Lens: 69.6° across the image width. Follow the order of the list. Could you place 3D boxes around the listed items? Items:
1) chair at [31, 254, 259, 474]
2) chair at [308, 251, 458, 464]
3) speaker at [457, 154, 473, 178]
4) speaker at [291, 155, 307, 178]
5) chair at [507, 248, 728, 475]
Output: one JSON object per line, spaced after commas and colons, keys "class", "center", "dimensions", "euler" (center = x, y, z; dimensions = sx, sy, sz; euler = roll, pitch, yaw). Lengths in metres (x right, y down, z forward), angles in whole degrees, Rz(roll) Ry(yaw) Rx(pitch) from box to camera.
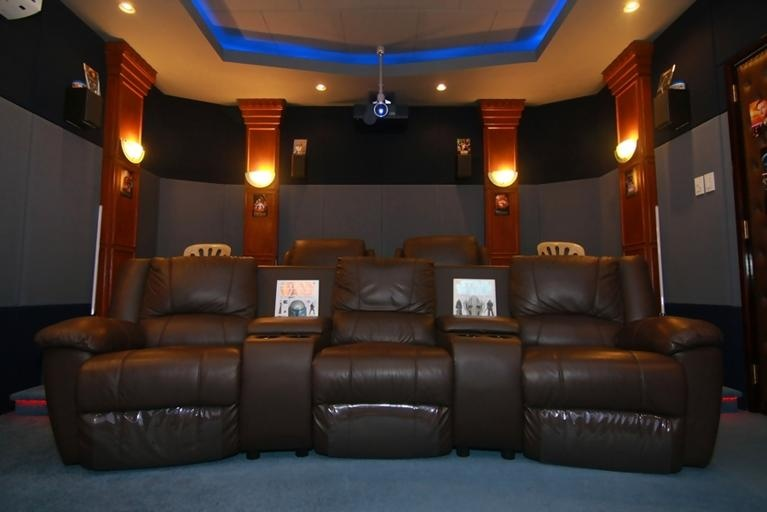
{"class": "chair", "center": [-1.768, 0.792, 4.533], "dimensions": [1.367, 1.352, 1.383], "euler": [-1, -8, -5]}
{"class": "chair", "center": [0.002, 0.764, 4.706], "dimensions": [1.048, 1.505, 1.581], "euler": [1, -1, 5]}
{"class": "speaker", "center": [1.168, -1.309, 8.091], "dimensions": [0.275, 0.405, 0.276], "euler": [0, -6, -1]}
{"class": "speaker", "center": [-1.222, -1.292, 8.180], "dimensions": [0.268, 0.390, 0.271], "euler": [2, -6, -1]}
{"class": "chair", "center": [1.807, 0.814, 4.632], "dimensions": [1.432, 1.422, 1.453], "euler": [0, -8, 5]}
